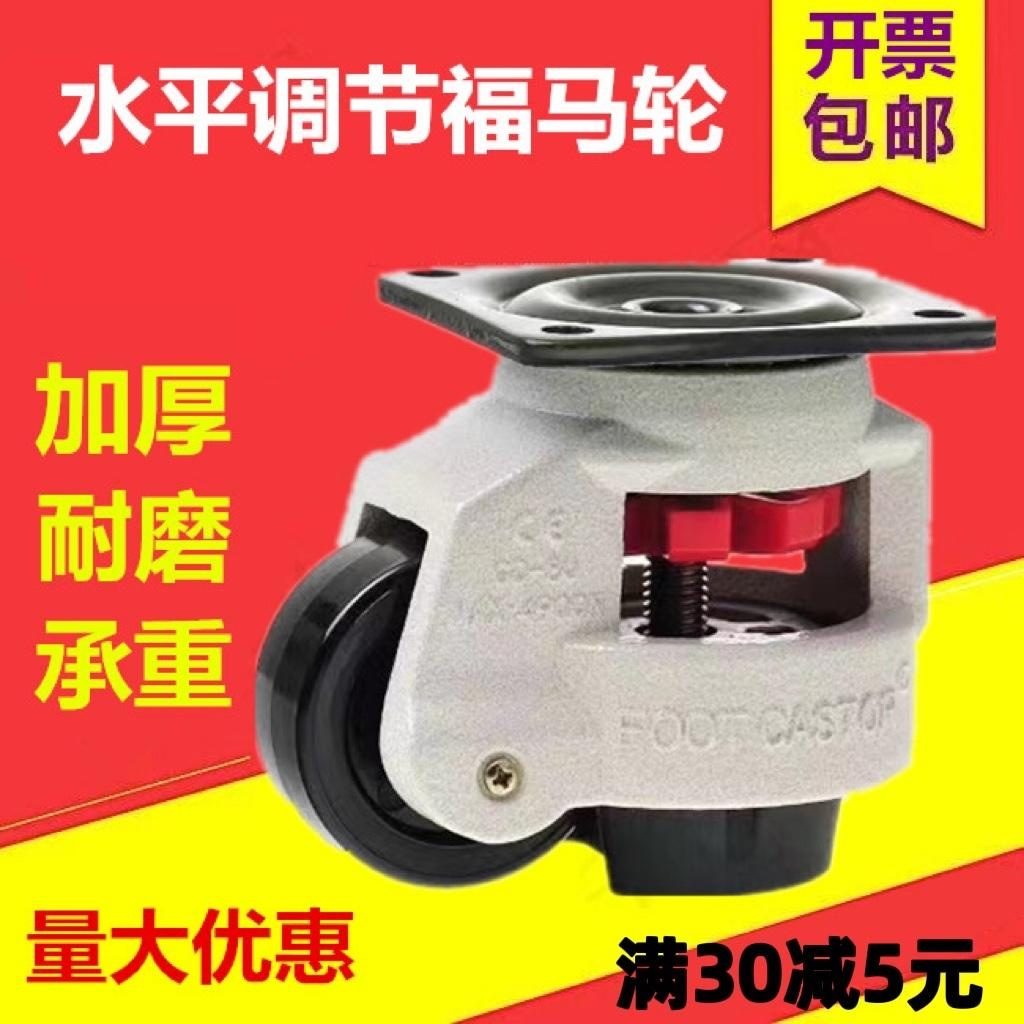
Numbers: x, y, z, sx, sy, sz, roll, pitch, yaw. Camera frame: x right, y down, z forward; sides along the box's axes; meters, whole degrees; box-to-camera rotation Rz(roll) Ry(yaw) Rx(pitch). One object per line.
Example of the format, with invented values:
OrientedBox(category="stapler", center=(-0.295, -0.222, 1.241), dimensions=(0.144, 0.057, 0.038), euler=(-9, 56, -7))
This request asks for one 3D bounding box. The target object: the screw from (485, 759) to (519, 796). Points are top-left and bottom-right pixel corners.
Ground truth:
OrientedBox(category="screw", center=(-0.010, 0.208, 0.951), dimensions=(0.041, 0.027, 0.009), euler=(-1, 7, -23))

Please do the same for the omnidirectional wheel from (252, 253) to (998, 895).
OrientedBox(category="omnidirectional wheel", center=(0.061, 0.078, 1.069), dimensions=(0.732, 0.426, 0.421), euler=(-8, 0, -31))
